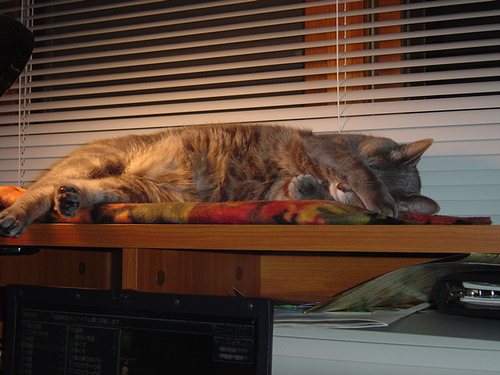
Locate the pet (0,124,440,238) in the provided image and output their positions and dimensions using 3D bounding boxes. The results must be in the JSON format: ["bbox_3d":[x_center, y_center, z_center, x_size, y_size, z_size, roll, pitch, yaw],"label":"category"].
[{"bbox_3d":[-0.099,0.018,1.510,1.239,0.222,0.416,-2,-4,10],"label":"pet"}]

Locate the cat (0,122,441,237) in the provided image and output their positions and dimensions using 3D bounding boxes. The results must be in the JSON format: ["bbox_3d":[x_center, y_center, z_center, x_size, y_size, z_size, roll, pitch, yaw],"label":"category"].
[{"bbox_3d":[-0.397,0.010,1.603,1.877,0.344,0.374,-2,4,11],"label":"cat"}]
